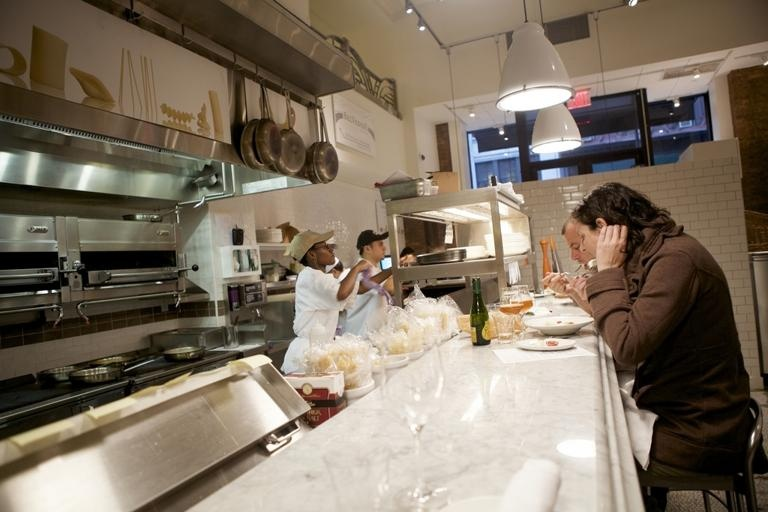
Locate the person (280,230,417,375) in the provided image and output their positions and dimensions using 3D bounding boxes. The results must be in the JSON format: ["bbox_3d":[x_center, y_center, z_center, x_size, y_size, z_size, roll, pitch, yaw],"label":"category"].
[{"bbox_3d":[-0.385,0.293,4.673,1.230,2.163,0.996,-2,4,-8],"label":"person"}]

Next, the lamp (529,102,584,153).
[{"bbox_3d":[1.870,-1.344,5.307,0.558,0.523,0.539,-11,7,-43],"label":"lamp"}]

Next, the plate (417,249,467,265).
[{"bbox_3d":[0.381,-0.007,3.196,0.335,0.083,0.106,-2,13,9],"label":"plate"}]

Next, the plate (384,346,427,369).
[{"bbox_3d":[0.109,0.467,2.210,0.177,0.036,0.172,-1,2,38],"label":"plate"}]

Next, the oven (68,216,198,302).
[{"bbox_3d":[-1.975,0.025,3.842,0.516,0.502,1.006,-5,-1,43],"label":"oven"}]

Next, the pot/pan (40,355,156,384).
[{"bbox_3d":[-2.085,0.791,3.448,0.271,0.065,0.494,0,-5,8],"label":"pot/pan"}]

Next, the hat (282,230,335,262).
[{"bbox_3d":[-0.628,-0.080,4.041,0.381,0.274,0.322,-6,13,-6],"label":"hat"}]

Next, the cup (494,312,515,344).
[{"bbox_3d":[0.651,0.363,2.465,0.129,0.166,0.143,-7,-11,19],"label":"cup"}]

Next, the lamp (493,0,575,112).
[{"bbox_3d":[1.035,-1.335,3.325,0.508,0.585,0.440,0,14,20],"label":"lamp"}]
